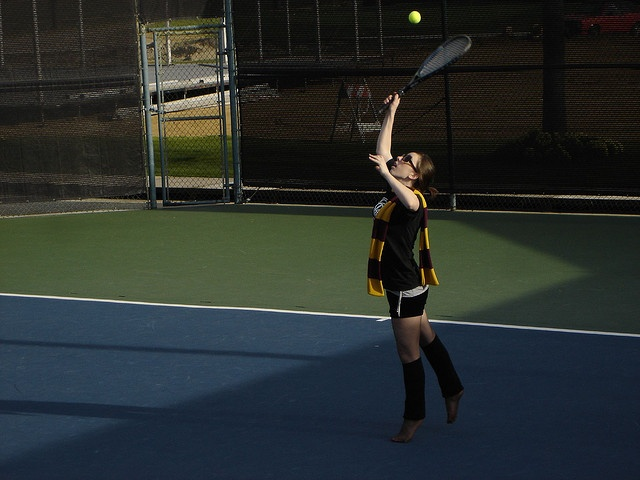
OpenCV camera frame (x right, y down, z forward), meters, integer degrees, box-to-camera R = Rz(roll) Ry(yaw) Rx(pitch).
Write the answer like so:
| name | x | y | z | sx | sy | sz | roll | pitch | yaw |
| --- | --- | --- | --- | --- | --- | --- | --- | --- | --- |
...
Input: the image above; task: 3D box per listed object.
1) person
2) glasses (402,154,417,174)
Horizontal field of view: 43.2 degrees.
| name | x | y | z | sx | sy | sz | roll | pitch | yaw |
| --- | --- | --- | --- | --- | --- | --- | --- | --- | --- |
| person | 0.734 | 0.373 | 6.233 | 0.689 | 2.225 | 0.823 | -1 | 12 | 9 |
| glasses | 0.675 | -0.572 | 6.089 | 0.039 | 0.117 | 0.121 | -36 | 22 | -17 |
